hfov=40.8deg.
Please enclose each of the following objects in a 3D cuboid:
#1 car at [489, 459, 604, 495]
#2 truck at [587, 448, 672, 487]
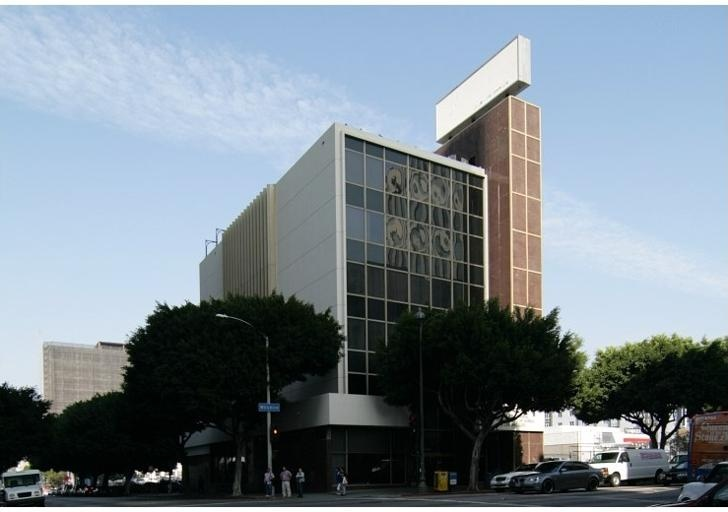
[{"bbox_3d":[14.722,16.923,74.913,6.825,2.145,3.156,7,-16,-22],"label":"car"},{"bbox_3d":[22.246,17.388,81.607,6.355,2.775,3.253,9,-18,-33],"label":"truck"}]
